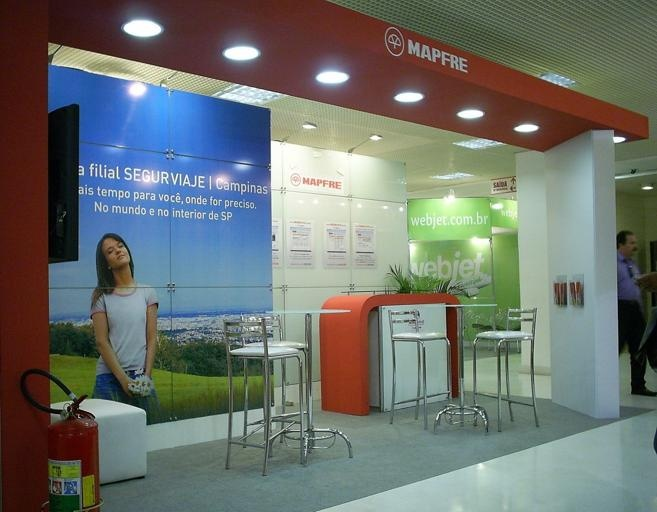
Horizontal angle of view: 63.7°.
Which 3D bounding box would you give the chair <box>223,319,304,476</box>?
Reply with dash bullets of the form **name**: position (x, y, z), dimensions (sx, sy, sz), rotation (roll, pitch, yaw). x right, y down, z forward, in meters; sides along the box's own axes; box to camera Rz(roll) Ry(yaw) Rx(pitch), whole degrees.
- **chair**: position (-0.649, 1.214, 5.172), dimensions (0.833, 1.400, 2.009), rotation (-3, -2, -4)
